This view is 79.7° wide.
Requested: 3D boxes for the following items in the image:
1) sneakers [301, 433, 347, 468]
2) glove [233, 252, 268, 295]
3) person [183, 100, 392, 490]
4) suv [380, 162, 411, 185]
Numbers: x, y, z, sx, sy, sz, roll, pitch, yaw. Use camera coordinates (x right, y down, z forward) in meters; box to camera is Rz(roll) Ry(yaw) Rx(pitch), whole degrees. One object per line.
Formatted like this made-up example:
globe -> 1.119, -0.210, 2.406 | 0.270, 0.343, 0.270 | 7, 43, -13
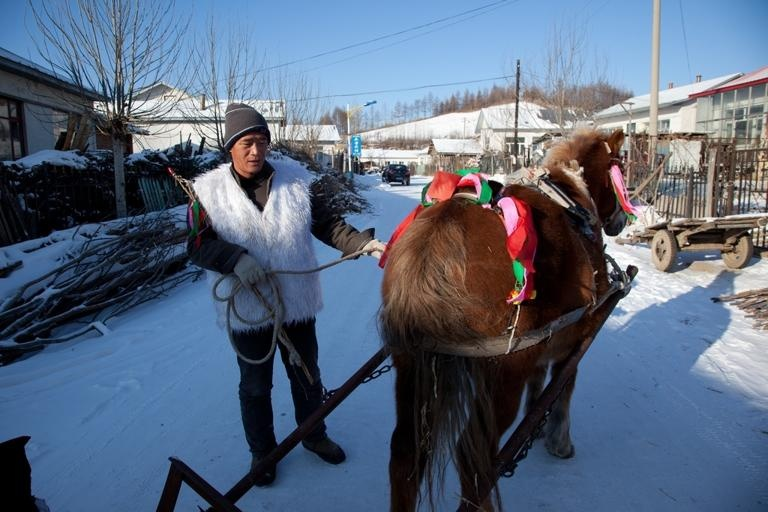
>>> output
sneakers -> -0.559, 1.753, 4.270 | 0.403, 0.203, 0.223 | 16, 28, 21
glove -> -1.081, 0.119, 3.689 | 0.236, 0.300, 0.218 | -7, 15, -13
person -> -0.929, 0.343, 3.962 | 1.291, 3.191, 0.783 | -10, 15, -28
suv -> 0.890, -5.984, 33.773 | 1.183, 1.216, 2.708 | 1, 19, -1
